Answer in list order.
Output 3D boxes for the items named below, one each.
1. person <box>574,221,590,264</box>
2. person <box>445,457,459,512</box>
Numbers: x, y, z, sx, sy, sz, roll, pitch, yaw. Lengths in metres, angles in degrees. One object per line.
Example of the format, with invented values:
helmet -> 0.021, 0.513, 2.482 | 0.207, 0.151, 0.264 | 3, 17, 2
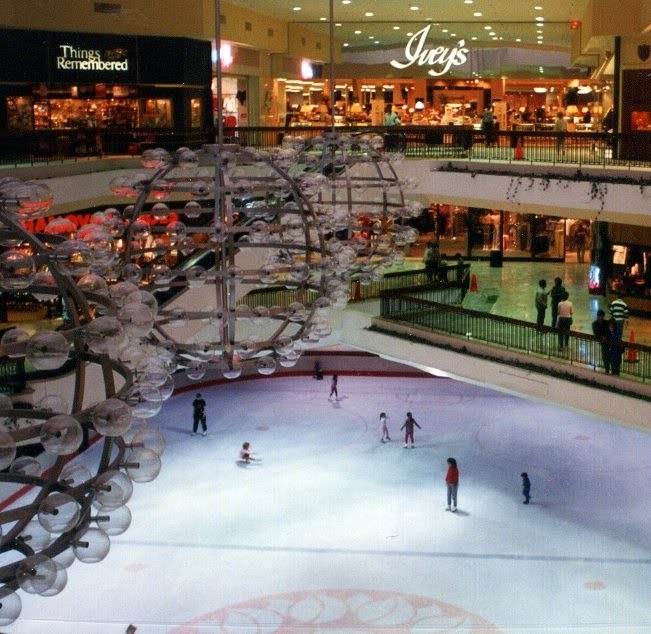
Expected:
person -> 8.632, -2.542, 19.814 | 0.527, 1.352, 0.260 | 2, 13, 13
person -> 2.270, 2.942, 10.526 | 0.217, 0.911, 0.546 | 2, 13, 12
